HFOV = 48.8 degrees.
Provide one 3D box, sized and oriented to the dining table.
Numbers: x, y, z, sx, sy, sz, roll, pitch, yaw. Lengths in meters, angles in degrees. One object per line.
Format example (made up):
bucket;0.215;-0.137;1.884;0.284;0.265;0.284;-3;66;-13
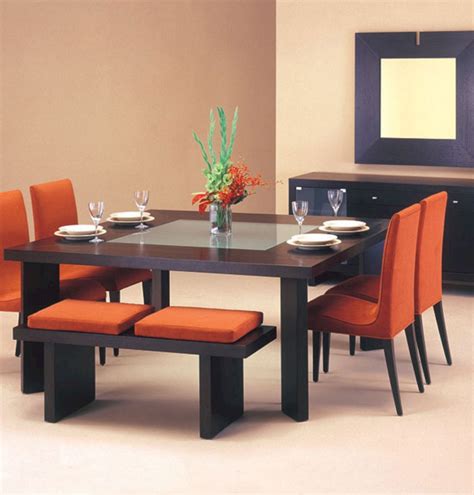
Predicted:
dining table;0.024;0.171;2.558;1.272;0.549;1.212;3;6;22
